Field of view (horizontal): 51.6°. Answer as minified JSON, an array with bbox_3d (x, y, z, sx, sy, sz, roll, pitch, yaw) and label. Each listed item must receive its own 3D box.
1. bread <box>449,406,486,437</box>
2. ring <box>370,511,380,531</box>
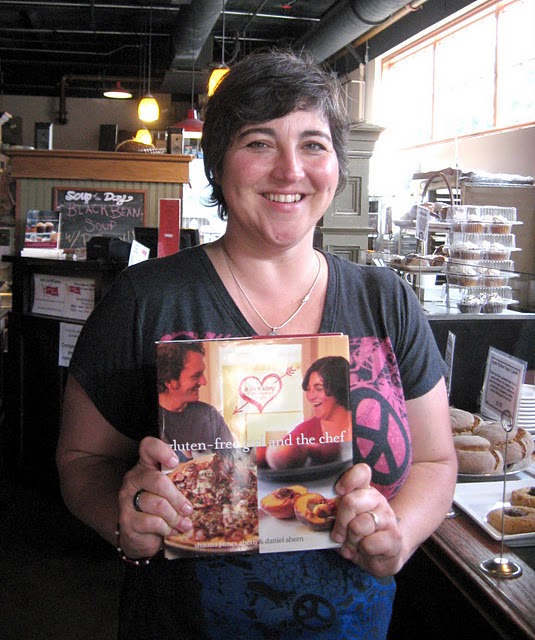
[{"bbox_3d":[0.550,0.278,1.547,0.093,0.023,0.092,0,9,3],"label":"bread"},{"bbox_3d":[0.147,0.272,0.750,0.007,0.019,0.022,-5,9,-11],"label":"ring"}]
